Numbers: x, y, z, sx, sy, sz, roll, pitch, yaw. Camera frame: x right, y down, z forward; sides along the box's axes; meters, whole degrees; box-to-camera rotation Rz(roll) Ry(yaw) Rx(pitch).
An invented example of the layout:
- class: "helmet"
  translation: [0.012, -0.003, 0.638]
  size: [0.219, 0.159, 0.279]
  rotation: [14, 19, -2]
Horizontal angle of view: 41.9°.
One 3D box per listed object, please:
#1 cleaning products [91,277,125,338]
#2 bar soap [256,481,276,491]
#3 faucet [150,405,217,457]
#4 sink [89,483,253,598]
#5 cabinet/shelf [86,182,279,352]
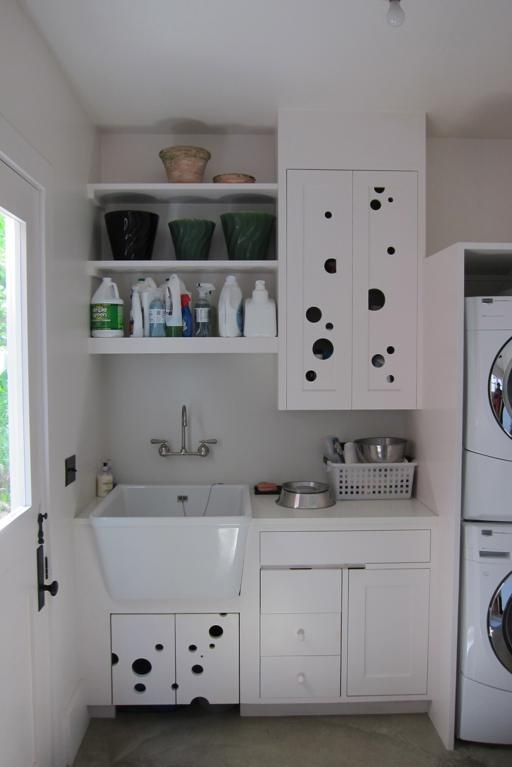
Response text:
- class: "cleaning products"
  translation: [-0.548, -0.280, 2.448]
  size: [0.114, 0.218, 0.088]
  rotation: [-1, 7, -15]
- class: "bar soap"
  translation: [0.042, 0.413, 2.681]
  size: [0.088, 0.029, 0.112]
  rotation: [-1, 7, -10]
- class: "faucet"
  translation: [-0.302, 0.188, 2.708]
  size: [0.199, 0.181, 0.080]
  rotation: [0, 1, 1]
- class: "sink"
  translation: [-0.291, 0.575, 2.435]
  size: [0.526, 0.326, 0.455]
  rotation: [0, 7, -1]
- class: "cabinet/shelf"
  translation: [-0.284, -0.438, 2.494]
  size: [0.650, 0.560, 0.200]
  rotation: [0, -1, -2]
